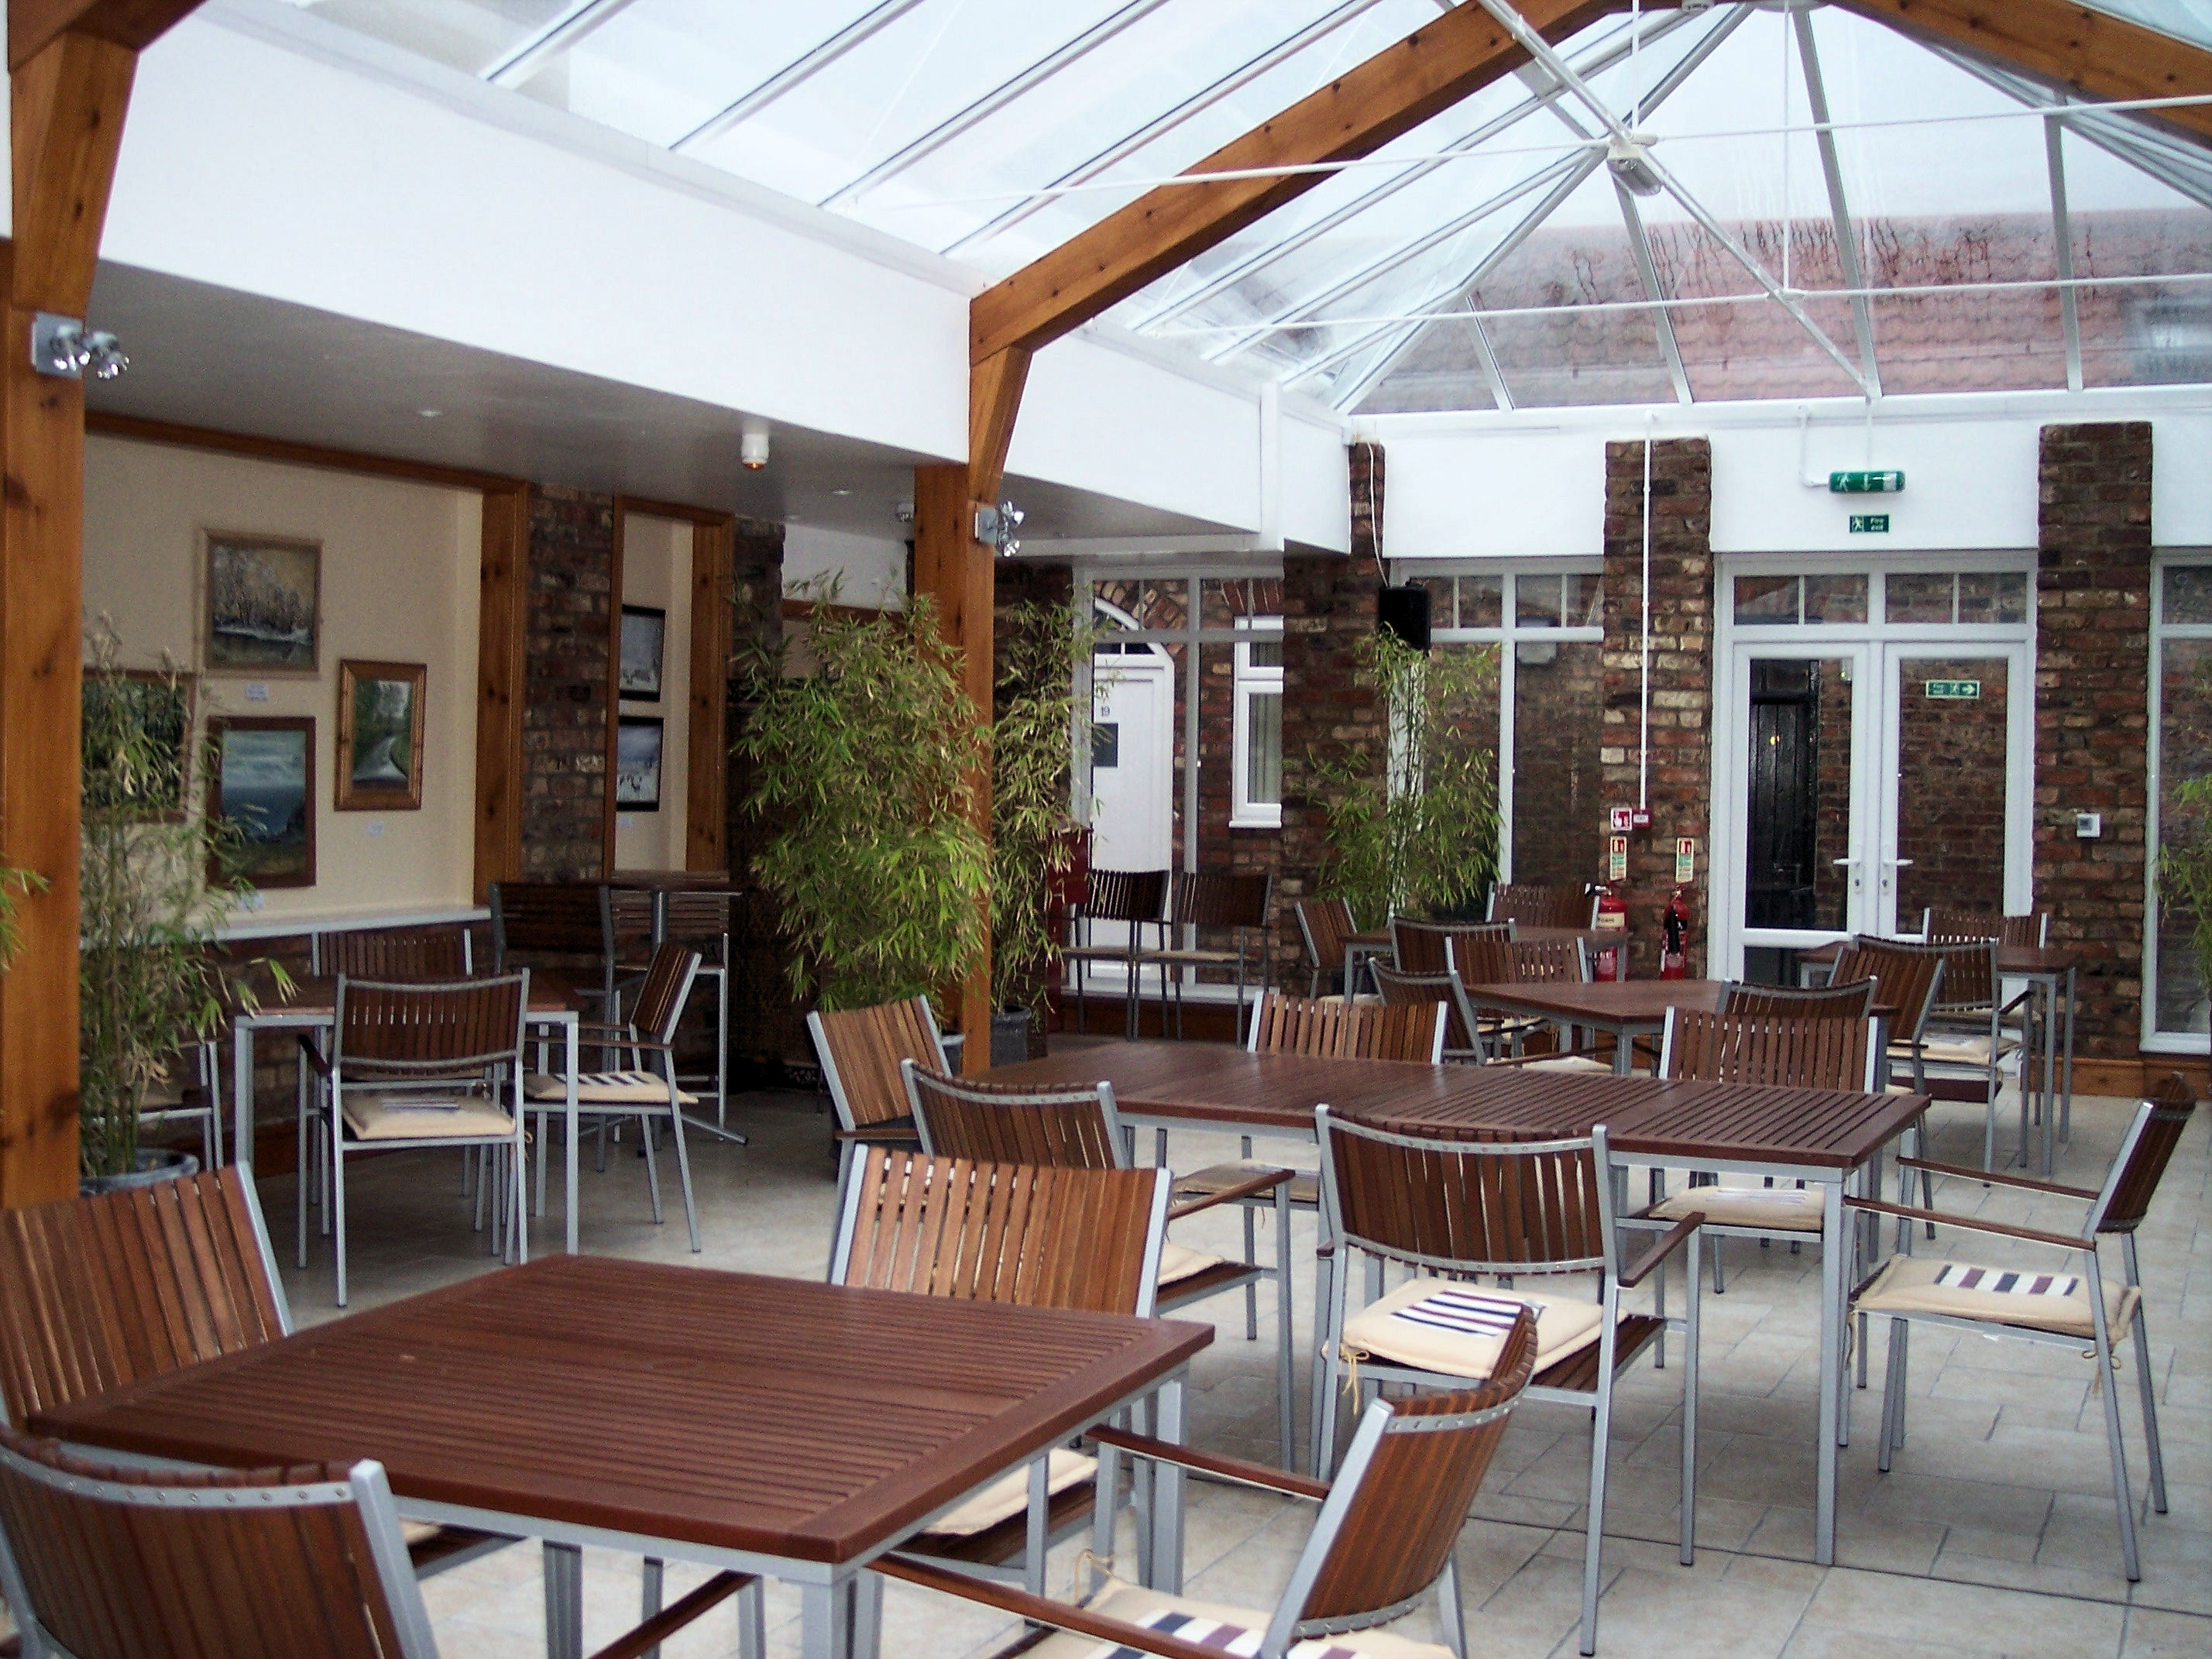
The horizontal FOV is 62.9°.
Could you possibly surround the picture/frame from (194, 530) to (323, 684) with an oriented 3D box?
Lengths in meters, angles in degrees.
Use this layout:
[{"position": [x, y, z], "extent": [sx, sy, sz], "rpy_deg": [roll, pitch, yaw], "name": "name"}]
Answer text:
[{"position": [-3.924, -1.050, 8.422], "extent": [0.030, 0.619, 0.606], "rpy_deg": [4, 2, 30], "name": "picture/frame"}]
